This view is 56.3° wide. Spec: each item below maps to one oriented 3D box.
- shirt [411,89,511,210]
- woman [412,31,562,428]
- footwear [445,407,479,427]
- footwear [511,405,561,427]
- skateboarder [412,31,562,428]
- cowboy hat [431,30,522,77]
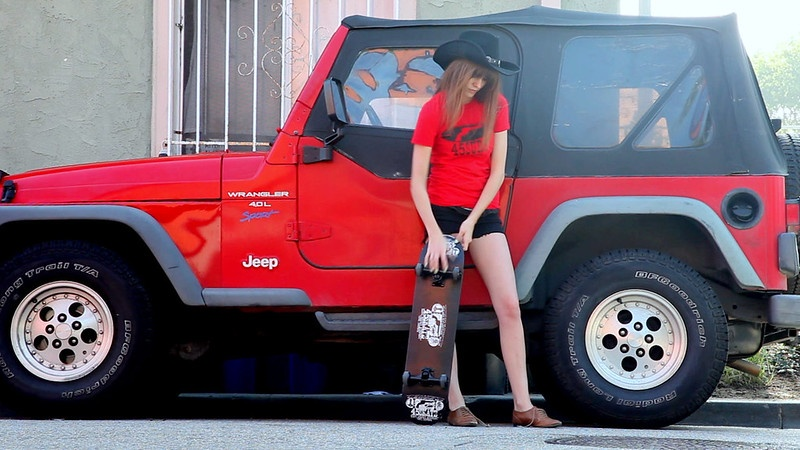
[{"bbox_3d":[0.541,-0.657,6.677,1.146,1.206,0.500,1,6,-4],"label":"shirt"},{"bbox_3d":[0.441,-0.054,7.197,1.248,3.070,1.999,0,0,4],"label":"woman"},{"bbox_3d":[0.585,1.749,6.810,0.315,0.119,0.127,-3,-4,35],"label":"footwear"},{"bbox_3d":[1.222,1.723,6.732,0.446,0.152,0.170,-1,-4,5],"label":"footwear"},{"bbox_3d":[0.423,0.088,7.174,1.523,3.360,1.716,0,1,-23],"label":"skateboarder"},{"bbox_3d":[0.709,-1.580,6.836,0.754,0.312,0.804,6,10,-32],"label":"cowboy hat"}]
